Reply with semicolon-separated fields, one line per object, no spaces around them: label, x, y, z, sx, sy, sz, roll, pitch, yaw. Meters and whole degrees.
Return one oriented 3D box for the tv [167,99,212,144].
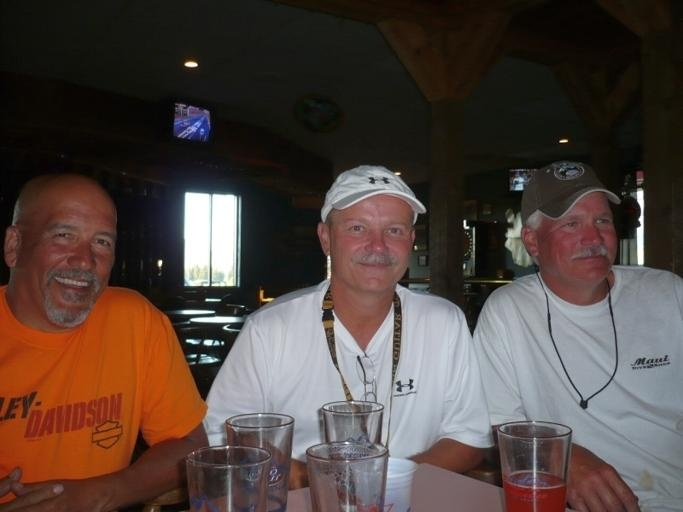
tv;-2.749;-2.445;10.285;0.155;0.554;0.638;18;19;38

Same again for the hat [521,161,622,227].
hat;1.144;-0.331;2.790;0.401;0.254;0.525;-12;15;14

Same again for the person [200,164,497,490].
person;0.027;0.297;2.266;1.342;1.213;0.820;-1;1;-7

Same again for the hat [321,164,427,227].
hat;0.150;-0.255;2.383;0.389;0.215;0.470;-3;-10;-1

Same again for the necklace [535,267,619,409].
necklace;1.051;0.376;2.459;0.316;0.564;0.154;-3;-6;18
